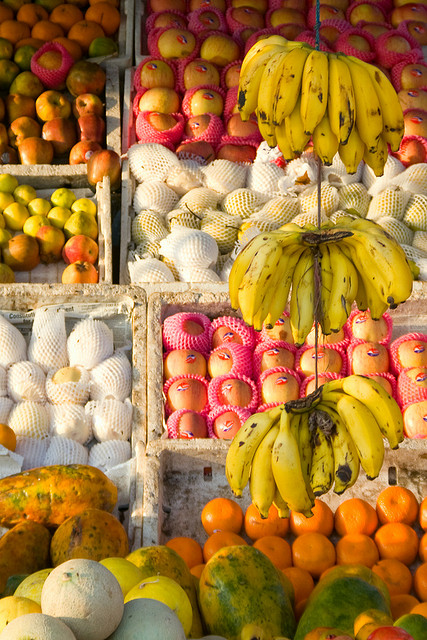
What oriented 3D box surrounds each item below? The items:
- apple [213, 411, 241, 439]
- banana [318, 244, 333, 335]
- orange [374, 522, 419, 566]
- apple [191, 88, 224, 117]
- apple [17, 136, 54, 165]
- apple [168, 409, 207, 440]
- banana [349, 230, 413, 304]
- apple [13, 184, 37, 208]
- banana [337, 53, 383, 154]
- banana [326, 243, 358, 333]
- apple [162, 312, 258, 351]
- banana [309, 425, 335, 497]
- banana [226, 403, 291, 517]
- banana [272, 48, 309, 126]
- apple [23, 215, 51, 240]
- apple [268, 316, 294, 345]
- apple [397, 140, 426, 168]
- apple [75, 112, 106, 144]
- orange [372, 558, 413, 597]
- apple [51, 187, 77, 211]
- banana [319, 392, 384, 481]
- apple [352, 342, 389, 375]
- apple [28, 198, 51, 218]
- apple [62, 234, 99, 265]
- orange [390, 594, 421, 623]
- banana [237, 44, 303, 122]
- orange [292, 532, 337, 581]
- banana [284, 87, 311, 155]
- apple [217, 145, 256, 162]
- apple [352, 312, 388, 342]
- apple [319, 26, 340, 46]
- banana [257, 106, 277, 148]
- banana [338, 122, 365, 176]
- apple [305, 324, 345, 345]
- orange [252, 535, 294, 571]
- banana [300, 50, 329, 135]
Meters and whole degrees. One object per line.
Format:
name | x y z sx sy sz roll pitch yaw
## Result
apple | 0.057 0.471 2.511 0.068 0.109 0.107 29 36 -26
banana | 0.322 -0.082 1.629 0.041 0.245 0.066 -5 -17 3
orange | 0.638 0.778 1.956 0.152 0.133 0.145 2 0 2
apple | -0.052 -1.888 4.849 0.259 0.250 0.254 1 2 2
apple | -1.457 -1.393 4.605 0.275 0.233 0.398 1 13 -19
apple | -0.124 0.474 2.523 0.130 0.146 0.134 -3 36 -2
banana | 0.409 -0.137 1.426 0.075 0.097 0.242 8 28 -28
apple | -1.401 -0.961 4.258 0.158 0.183 0.158 2 -18 5
banana | 0.377 -0.562 1.481 0.069 0.249 0.090 -10 9 -10
banana | 0.350 -0.089 1.582 0.065 0.268 0.093 8 -15 -14
apple | -0.039 0.068 2.913 0.376 0.160 0.228 5 50 6
banana | 0.282 0.380 1.458 0.056 0.196 0.064 10 -31 -13
banana | 0.136 0.366 1.505 0.163 0.285 0.074 9 0 39
banana | 0.188 -0.598 1.427 0.066 0.213 0.073 7 -23 36
apple | -1.258 -0.658 3.992 0.150 0.152 0.156 -9 31 40
apple | 0.353 0.059 2.899 0.125 0.156 0.089 -3 -19 -3
apple | 1.635 -1.417 4.679 0.218 0.213 0.126 -22 -9 3
apple | -1.048 -1.677 4.846 0.254 0.270 0.275 1 14 -22
orange | 0.571 0.833 1.799 0.127 0.069 0.115 -5 17 -40
apple | -1.112 -0.931 4.259 0.181 0.174 0.167 3 49 -2
banana | 0.381 0.297 1.476 0.114 0.170 0.234 1 13 -20
apple | 0.750 0.193 2.764 0.172 0.166 0.165 -5 32 2
apple | -1.292 -0.841 4.171 0.142 0.137 0.140 3 17 6
apple | -0.925 -0.491 3.985 0.223 0.215 0.218 8 26 34
orange | 0.530 0.796 1.552 0.074 0.036 0.074 -23 18 37
banana | 0.163 -0.673 1.601 0.126 0.244 0.083 3 -18 41
orange | 0.332 0.773 1.856 0.149 0.136 0.145 -4 51 10
banana | 0.219 -0.527 1.480 0.051 0.157 0.057 -7 -9 16
apple | 0.193 -1.343 4.594 0.206 0.108 0.198 15 10 -7
apple | 0.804 0.045 2.997 0.203 0.191 0.199 -1 9 1
apple | 1.143 -2.831 5.536 0.177 0.223 0.230 9 13 11
banana | 0.147 -0.514 1.515 0.033 0.119 0.041 -15 8 41
banana | 0.377 -0.460 1.535 0.052 0.152 0.054 -2 3 -9
apple | 0.551 0.096 2.847 0.182 0.102 0.175 -4 3 -26
orange | 0.189 0.766 1.867 0.109 0.102 0.105 -3 33 8
banana | 0.252 -0.576 1.436 0.061 0.217 0.067 5 -13 -6
